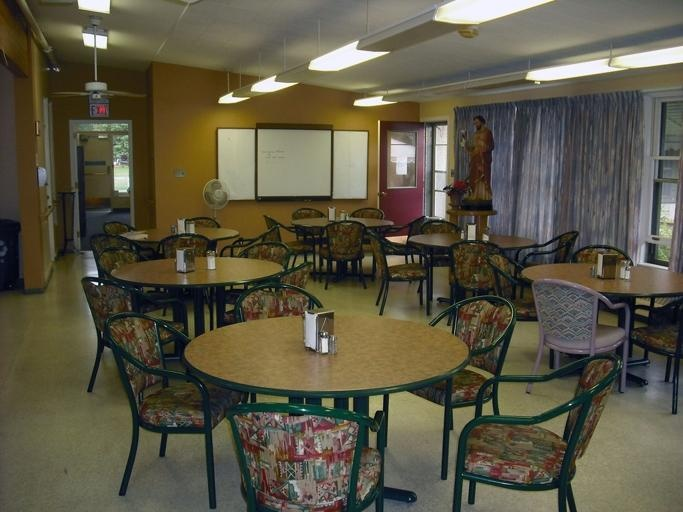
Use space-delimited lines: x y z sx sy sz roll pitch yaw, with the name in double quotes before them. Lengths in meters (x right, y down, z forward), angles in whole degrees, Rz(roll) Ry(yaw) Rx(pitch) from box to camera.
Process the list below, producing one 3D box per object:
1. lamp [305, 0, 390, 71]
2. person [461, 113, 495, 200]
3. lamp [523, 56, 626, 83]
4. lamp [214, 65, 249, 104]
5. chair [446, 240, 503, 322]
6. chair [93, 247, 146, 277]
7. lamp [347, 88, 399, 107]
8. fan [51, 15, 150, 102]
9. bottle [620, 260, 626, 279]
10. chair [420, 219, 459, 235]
"lamp" 0.045 -1.947 5.274 0.308 0.095 0.907 16 -14 -35
"person" 1.936 -1.362 7.809 0.395 1.197 0.461 0 9 13
"lamp" 2.383 -1.907 5.653 0.390 0.152 1.037 -7 10 -34
"lamp" -1.822 -2.817 9.060 0.497 0.651 1.680 -4 9 -11
"chair" 1.315 0.181 5.579 0.573 0.804 0.613 1 15 10
"chair" -2.135 0.004 5.183 0.321 0.416 0.354 5 6 35
"lamp" 0.568 -2.801 9.866 0.664 0.347 1.828 -2 8 0
"fan" -3.140 -2.516 7.016 1.117 1.002 1.067 8 12 24
"bottle" 2.383 0.122 4.657 0.043 0.145 0.133 2 10 25
"chair" 1.348 -0.393 7.599 0.545 0.184 0.269 0 9 8
